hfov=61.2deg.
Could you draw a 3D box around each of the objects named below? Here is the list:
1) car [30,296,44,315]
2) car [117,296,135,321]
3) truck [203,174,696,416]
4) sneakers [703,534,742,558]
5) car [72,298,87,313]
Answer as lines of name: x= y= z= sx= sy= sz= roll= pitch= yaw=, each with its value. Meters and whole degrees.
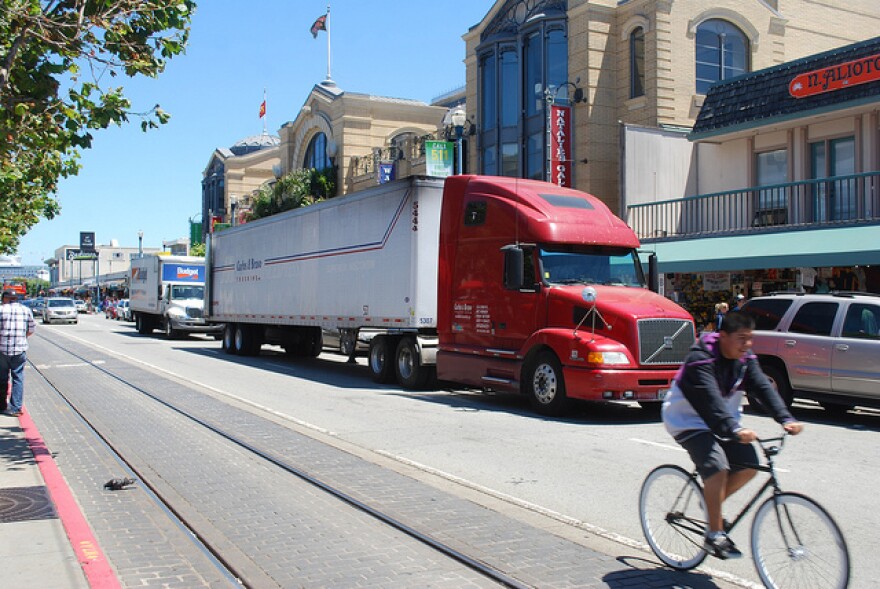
car: x=-35.513 y=0.958 z=65.399 sx=1.524 sy=1.413 sz=2.668 roll=2 pitch=-5 yaw=-25
car: x=-23.202 y=1.055 z=54.702 sx=1.777 sy=1.607 sz=2.985 roll=2 pitch=-3 yaw=-34
truck: x=-0.775 y=-0.028 z=21.517 sx=4.666 sy=5.376 sz=17.877 roll=0 pitch=-2 yaw=-35
sneakers: x=2.703 y=2.398 z=7.210 sx=0.141 sy=0.196 sz=0.418 roll=-1 pitch=-5 yaw=-35
car: x=-39.602 y=1.174 z=81.535 sx=1.424 sy=1.200 sz=2.386 roll=0 pitch=7 yaw=-15
